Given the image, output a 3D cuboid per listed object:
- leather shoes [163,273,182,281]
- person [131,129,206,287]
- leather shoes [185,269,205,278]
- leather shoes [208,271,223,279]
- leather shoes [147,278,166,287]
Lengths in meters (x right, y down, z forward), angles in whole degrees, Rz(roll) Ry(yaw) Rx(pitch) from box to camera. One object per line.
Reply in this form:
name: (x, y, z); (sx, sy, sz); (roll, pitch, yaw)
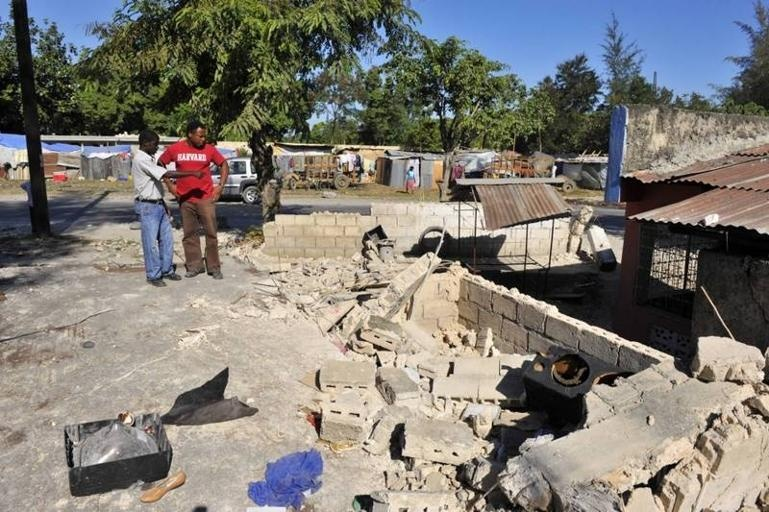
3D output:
leather shoes: (-3.220, 0.308, 8.303); (0.243, 0.117, 0.109); (-4, 19, -16)
person: (-3.359, -0.738, 8.125); (0.617, 2.229, 0.758); (-7, 13, -27)
leather shoes: (-2.946, 0.261, 8.541); (0.094, 0.206, 0.284); (-1, -4, 27)
leather shoes: (-2.628, 0.290, 8.568); (0.101, 0.106, 0.233); (-7, 6, -43)
leather shoes: (-3.335, 0.387, 8.009); (0.230, 0.112, 0.111); (1, 9, 14)
